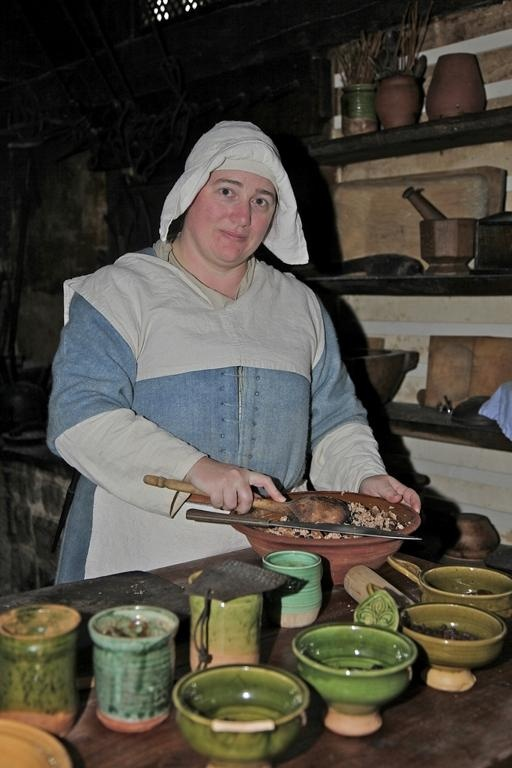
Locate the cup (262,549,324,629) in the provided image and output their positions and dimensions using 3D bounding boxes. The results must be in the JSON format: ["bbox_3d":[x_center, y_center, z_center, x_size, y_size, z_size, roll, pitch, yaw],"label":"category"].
[{"bbox_3d":[0.083,0.344,1.179,0.111,0.117,0.136,-1,-1,12],"label":"cup"}]

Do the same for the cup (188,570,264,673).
[{"bbox_3d":[-0.041,0.329,0.976,0.127,0.122,0.125,0,-2,0],"label":"cup"}]

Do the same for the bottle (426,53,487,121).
[{"bbox_3d":[0.761,-1.146,2.665,0.212,0.250,0.103,-1,3,11],"label":"bottle"}]

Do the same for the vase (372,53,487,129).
[{"bbox_3d":[0.686,-1.140,2.810,0.438,0.224,0.260,2,9,38],"label":"vase"}]

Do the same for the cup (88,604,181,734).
[{"bbox_3d":[-0.150,0.356,0.859,0.104,0.154,0.148,-3,3,-13],"label":"cup"}]
